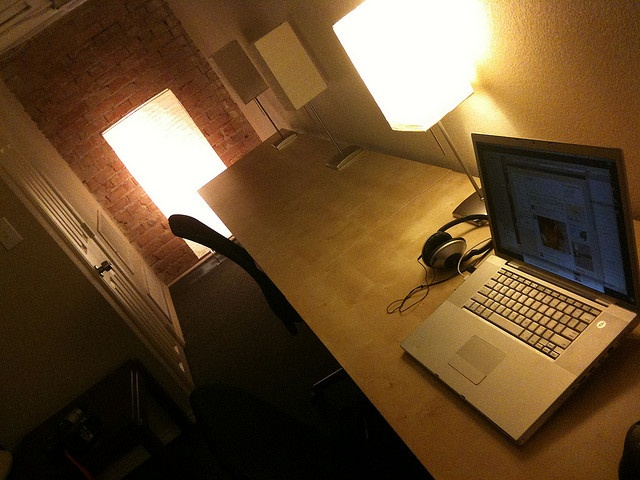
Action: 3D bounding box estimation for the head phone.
[{"bbox_3d":[0.471,0.015,1.598,0.228,0.290,0.112,8,-61,46],"label":"head phone"}]
